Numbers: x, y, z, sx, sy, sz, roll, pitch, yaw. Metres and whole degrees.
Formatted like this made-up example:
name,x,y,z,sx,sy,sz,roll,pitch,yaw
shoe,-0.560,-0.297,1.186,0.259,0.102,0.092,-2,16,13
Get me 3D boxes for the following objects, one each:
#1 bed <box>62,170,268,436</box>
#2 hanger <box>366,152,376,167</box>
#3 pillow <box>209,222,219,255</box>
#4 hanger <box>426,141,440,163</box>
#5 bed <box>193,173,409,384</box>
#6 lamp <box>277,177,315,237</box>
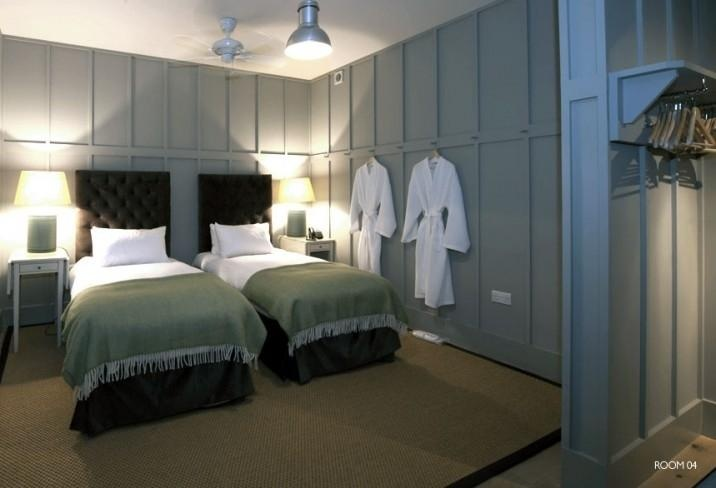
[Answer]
name,x,y,z,sx,sy,sz,roll,pitch,yaw
bed,-2.019,0.082,5.481,1.910,1.966,2.801,-2,13,-30
hanger,0.163,-1.044,6.647,0.071,0.171,0.208,-6,9,-29
pillow,-1.806,-0.056,6.672,0.088,0.333,0.269,0,-3,0
hanger,0.831,-1.001,5.856,0.036,0.280,0.239,-2,3,-35
bed,-0.850,0.099,6.163,1.462,1.944,2.742,-3,9,-39
lamp,-0.864,-0.525,7.725,0.675,1.072,0.713,-2,3,-8
